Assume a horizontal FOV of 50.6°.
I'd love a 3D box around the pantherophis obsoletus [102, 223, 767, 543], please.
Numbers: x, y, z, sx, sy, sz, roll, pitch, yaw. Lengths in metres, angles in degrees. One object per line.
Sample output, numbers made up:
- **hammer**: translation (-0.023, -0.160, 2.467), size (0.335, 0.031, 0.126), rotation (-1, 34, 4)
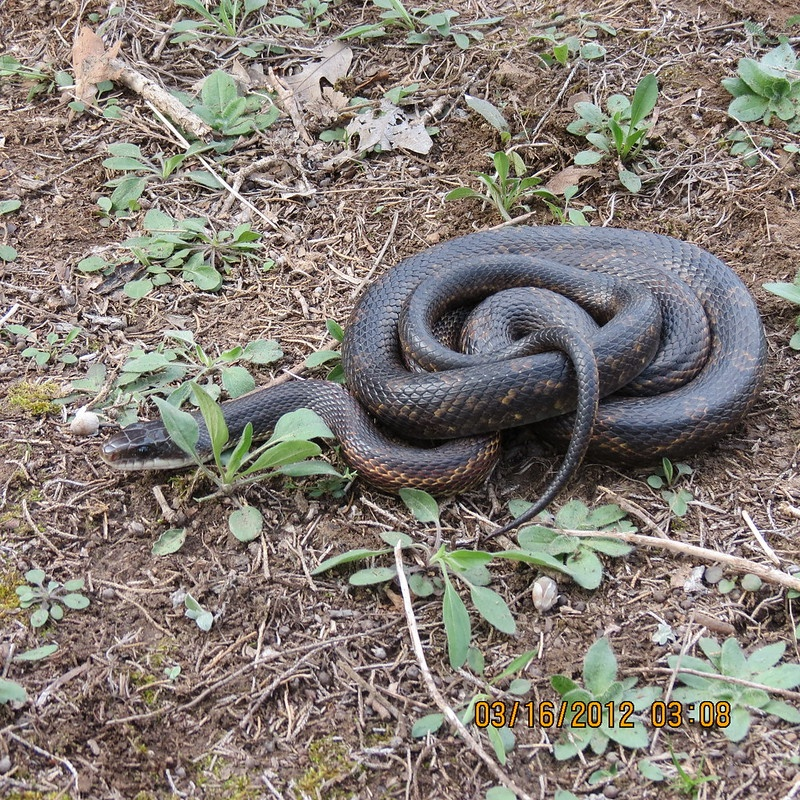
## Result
- **pantherophis obsoletus**: translation (0.839, -0.281, 5.329), size (2.738, 0.870, 2.120), rotation (-24, 51, -22)
